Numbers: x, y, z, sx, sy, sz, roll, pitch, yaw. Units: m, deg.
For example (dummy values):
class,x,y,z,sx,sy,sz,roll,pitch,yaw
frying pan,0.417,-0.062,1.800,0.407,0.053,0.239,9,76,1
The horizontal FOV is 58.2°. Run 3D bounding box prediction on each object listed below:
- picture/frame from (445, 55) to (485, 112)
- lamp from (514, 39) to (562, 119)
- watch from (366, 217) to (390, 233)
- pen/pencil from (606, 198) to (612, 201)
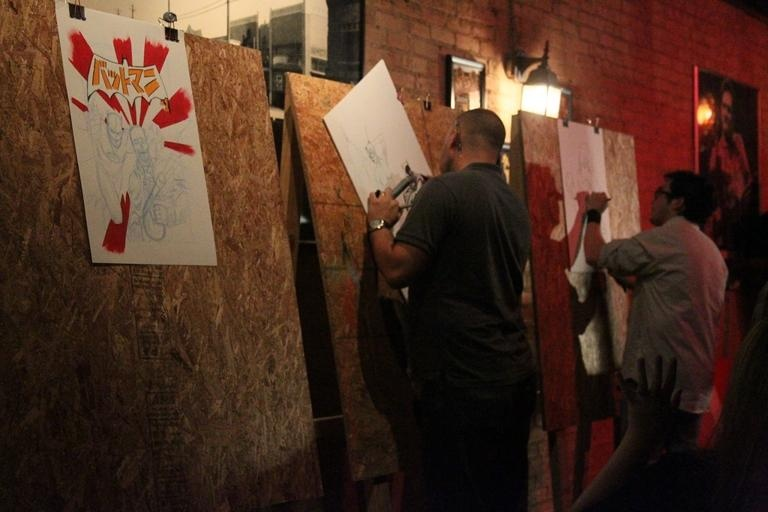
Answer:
class,x,y,z,sx,sy,sz,roll,pitch,yaw
picture/frame,0.492,-0.975,4.042,0.236,0.312,0.029,18,23,38
lamp,0.963,-1.057,4.167,0.204,0.456,0.206,3,6,-23
watch,-0.026,-0.122,2.777,0.058,0.062,0.054,-12,14,-43
pen/pencil,1.234,-0.307,3.792,0.013,0.011,0.060,-6,-3,6
